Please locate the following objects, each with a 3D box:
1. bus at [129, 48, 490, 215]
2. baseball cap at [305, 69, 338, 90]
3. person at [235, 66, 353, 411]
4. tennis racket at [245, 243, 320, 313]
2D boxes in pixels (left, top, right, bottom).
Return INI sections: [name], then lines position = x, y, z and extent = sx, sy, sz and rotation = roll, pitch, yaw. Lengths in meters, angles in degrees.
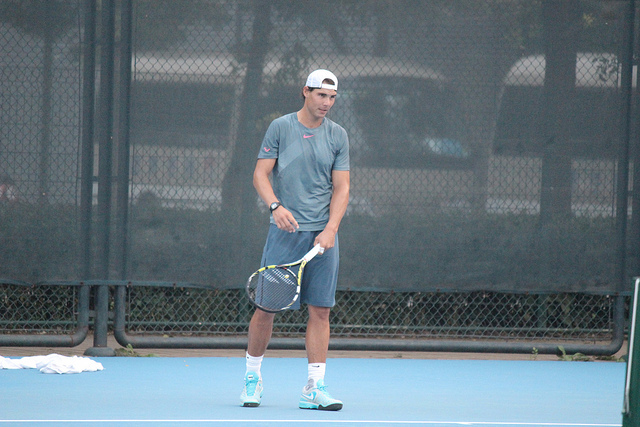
[bus]
position = -0.293, -0.770, 12.027
extent = 3.700, 2.021, 1.411
rotation = 0, 1, -7
[baseball cap]
position = 0.018, -1.088, 9.803
extent = 0.209, 0.165, 0.345
rotation = 5, 1, -20
[person]
position = -0.157, 0.206, 9.867
extent = 0.808, 2.851, 1.003
rotation = 3, -3, -10
[tennis racket]
position = -0.387, 0.460, 9.575
extent = 0.368, 0.069, 0.982
rotation = 13, -36, 11
